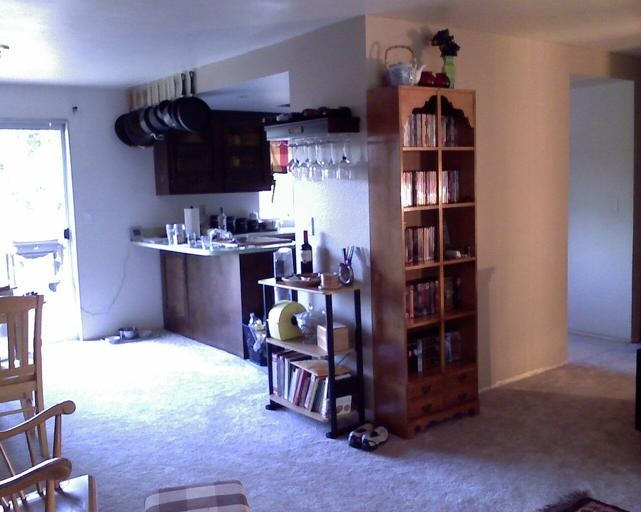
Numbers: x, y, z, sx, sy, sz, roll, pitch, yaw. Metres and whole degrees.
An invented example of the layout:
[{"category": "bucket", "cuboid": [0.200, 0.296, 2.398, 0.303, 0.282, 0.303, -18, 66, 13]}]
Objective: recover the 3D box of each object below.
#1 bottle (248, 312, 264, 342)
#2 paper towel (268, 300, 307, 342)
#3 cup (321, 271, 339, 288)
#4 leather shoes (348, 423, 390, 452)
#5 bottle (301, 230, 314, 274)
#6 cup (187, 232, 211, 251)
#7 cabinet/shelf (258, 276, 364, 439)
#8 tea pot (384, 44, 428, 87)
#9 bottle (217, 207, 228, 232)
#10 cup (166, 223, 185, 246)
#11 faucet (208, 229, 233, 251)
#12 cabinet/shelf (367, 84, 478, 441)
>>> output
[{"category": "bottle", "cuboid": [-0.642, 0.701, 5.332, 0.129, 0.102, 0.264, -13, 50, -13]}, {"category": "paper towel", "cuboid": [-0.244, 0.531, 4.494, 0.241, 0.310, 0.319, -3, -4, -13]}, {"category": "cup", "cuboid": [0.062, 0.177, 4.026, 0.132, 0.100, 0.211, -1, 9, 5]}, {"category": "leather shoes", "cuboid": [0.352, 1.266, 3.905, 0.229, 0.085, 0.333, 4, 11, 35]}, {"category": "bottle", "cuboid": [-0.119, -0.035, 4.422, 0.103, 0.331, 0.217, -2, 9, -2]}, {"category": "cup", "cuboid": [-1.330, -0.139, 6.018, 0.246, 0.157, 0.375, -6, 10, -40]}, {"category": "cabinet/shelf", "cuboid": [-0.054, 0.794, 4.184, 0.474, 1.149, 1.059, 0, -1, -40]}, {"category": "tea pot", "cuboid": [0.640, -1.395, 4.001, 0.410, 0.329, 0.248, -10, 12, -42]}, {"category": "bottle", "cuboid": [-1.316, -0.503, 7.286, 0.128, 0.269, 0.356, -4, 9, -11]}, {"category": "cup", "cuboid": [-1.691, -0.265, 6.449, 0.229, 0.309, 0.243, -1, 8, 0]}, {"category": "faucet", "cuboid": [-1.102, -0.188, 6.043, 0.217, 0.111, 0.323, 0, 4, -2]}, {"category": "cabinet/shelf", "cuboid": [0.775, 0.013, 4.073, 0.868, 2.449, 0.463, -7, 10, -28]}]
